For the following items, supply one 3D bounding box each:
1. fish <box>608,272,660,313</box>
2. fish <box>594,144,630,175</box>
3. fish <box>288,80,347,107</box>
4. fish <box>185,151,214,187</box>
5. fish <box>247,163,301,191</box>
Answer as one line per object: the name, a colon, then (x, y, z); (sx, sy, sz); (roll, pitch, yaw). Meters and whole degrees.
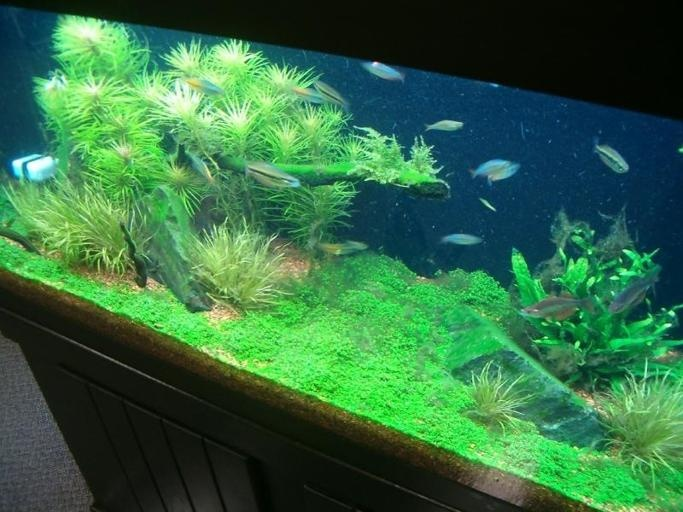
fish: (1.209, 0.142, 2.344); (0.210, 0.178, 0.075); (-24, 44, -26)
fish: (1.087, -0.397, 2.299); (0.026, 0.061, 0.183); (-4, 47, -43)
fish: (-0.094, -0.715, 2.487); (0.164, 0.080, 0.029); (10, 68, -5)
fish: (-0.641, -0.400, 2.590); (0.154, 0.112, 0.039); (26, 46, 30)
fish: (-0.311, -0.350, 2.529); (0.220, 0.092, 0.046); (16, 16, -14)
